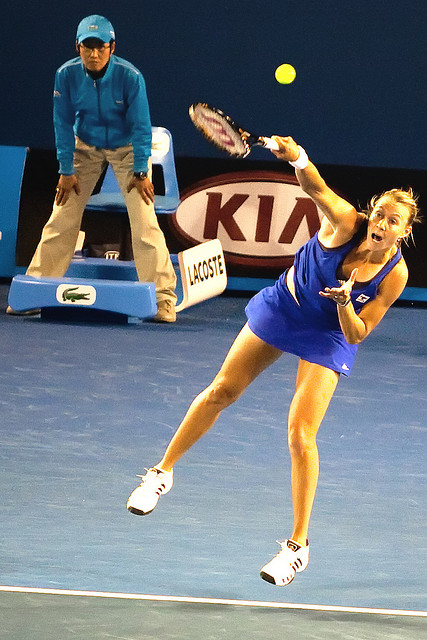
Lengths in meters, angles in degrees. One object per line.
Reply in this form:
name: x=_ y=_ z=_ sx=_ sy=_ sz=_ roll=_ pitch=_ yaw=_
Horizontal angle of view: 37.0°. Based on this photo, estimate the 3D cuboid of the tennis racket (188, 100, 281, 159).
tennis racket: x=0.047 y=-0.475 z=1.590 sx=0.213 sy=0.154 sz=0.314 roll=2 pitch=9 yaw=-6

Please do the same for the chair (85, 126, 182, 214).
chair: x=-0.704 y=-1.377 z=5.786 sx=0.780 sy=0.819 sz=1.146 roll=3 pitch=9 yaw=-5
